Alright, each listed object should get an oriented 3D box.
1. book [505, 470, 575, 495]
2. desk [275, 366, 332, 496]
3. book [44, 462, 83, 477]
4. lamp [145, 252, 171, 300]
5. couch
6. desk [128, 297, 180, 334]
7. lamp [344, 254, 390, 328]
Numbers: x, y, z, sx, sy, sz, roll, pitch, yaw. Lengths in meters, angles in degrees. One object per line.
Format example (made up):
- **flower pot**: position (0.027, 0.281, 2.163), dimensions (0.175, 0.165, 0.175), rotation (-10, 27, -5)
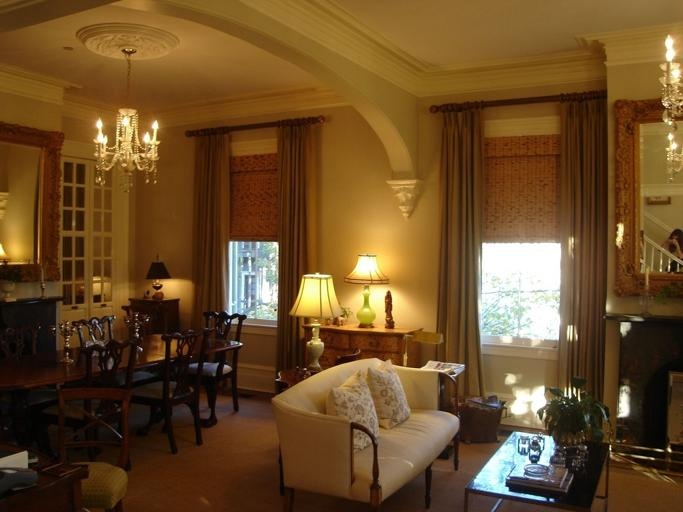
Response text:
- **book**: position (1.413, 1.595, 3.839), dimensions (0.446, 0.086, 0.352), rotation (2, 4, 19)
- **desk**: position (-0.459, 1.536, 5.036), dimensions (0.871, 1.041, 0.878), rotation (0, -8, -2)
- **book**: position (-1.468, 1.135, 2.854), dimensions (0.100, 0.027, 0.096), rotation (2, 1, 20)
- **lamp**: position (-2.729, 0.317, 7.981), dimensions (0.356, 0.615, 0.355), rotation (-1, -1, -1)
- **couch**: position (0.207, 1.160, 4.251), dimensions (1.021, 1.078, 1.949), rotation (-4, -4, 28)
- **desk**: position (-2.804, 0.969, 8.054), dimensions (0.595, 0.753, 0.412), rotation (2, 6, 9)
- **lamp**: position (0.316, 0.422, 6.625), dimensions (0.526, 0.875, 0.477), rotation (1, 4, 6)
